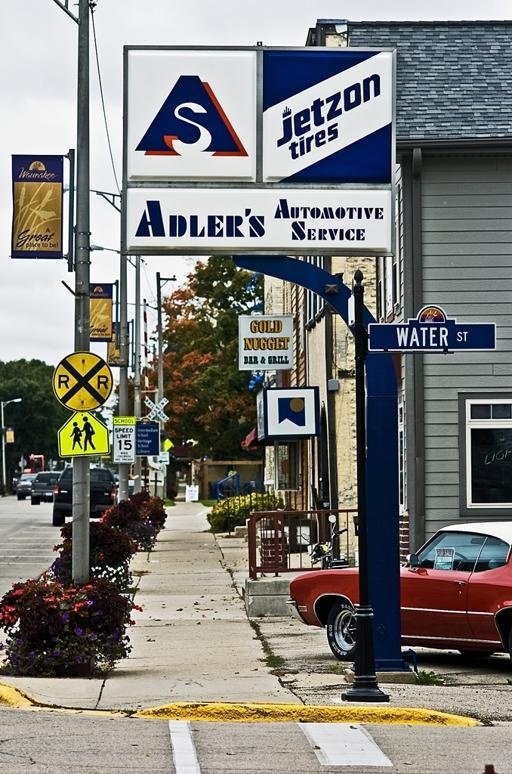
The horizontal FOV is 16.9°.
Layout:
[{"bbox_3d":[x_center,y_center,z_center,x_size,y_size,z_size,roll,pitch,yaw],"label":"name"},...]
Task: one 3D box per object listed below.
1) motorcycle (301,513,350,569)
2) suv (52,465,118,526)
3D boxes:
[{"bbox_3d":[0.861,1.933,21.152,0.646,0.789,0.441,-1,1,-3],"label":"motorcycle"},{"bbox_3d":[-4.026,2.551,40.790,1.314,1.267,2.751,0,-1,-3],"label":"suv"}]
